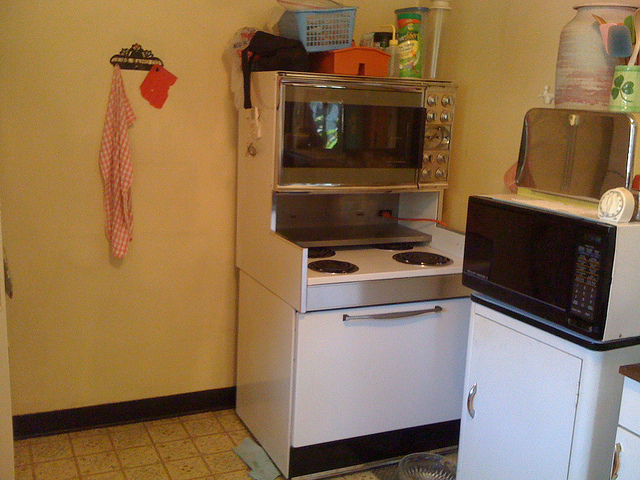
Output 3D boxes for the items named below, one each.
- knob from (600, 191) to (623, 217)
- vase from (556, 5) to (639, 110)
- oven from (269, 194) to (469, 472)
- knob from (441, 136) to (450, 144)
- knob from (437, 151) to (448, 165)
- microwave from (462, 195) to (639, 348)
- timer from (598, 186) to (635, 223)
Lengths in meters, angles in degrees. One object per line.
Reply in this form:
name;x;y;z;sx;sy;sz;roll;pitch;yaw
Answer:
knob;0.925;-0.111;1.714;0.021;0.069;0.063;16;0;-25
vase;0.988;-0.659;1.963;0.224;0.357;0.160;9;17;26
oven;0.234;0.422;2.805;0.936;1.269;0.806;-2;16;-11
knob;0.622;-0.494;2.697;0.040;0.036;0.028;-3;14;-23
knob;0.609;-0.411;2.707;0.057;0.062;0.016;-7;18;-27
microwave;0.760;0.052;1.869;0.440;0.461;0.741;0;9;-24
timer;0.933;-0.111;1.713;0.093;0.097;0.098;-13;20;-41
